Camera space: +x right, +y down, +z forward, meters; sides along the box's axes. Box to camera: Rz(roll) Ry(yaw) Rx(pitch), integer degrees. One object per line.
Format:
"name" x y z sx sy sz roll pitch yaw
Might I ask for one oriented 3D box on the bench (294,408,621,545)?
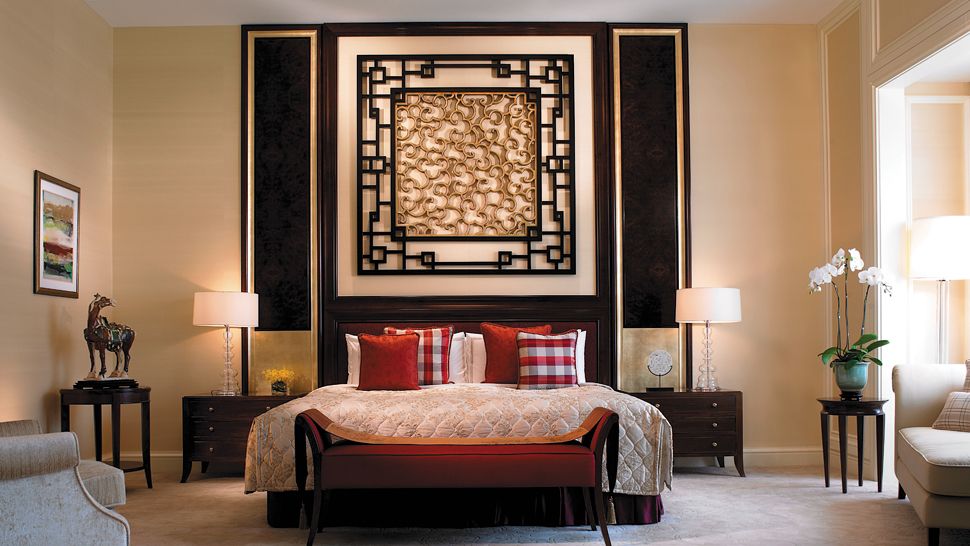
"bench" -0.242 1.773 6.633 2.843 1.249 0.408 -3 -5 0

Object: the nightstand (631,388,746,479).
"nightstand" 2.152 1.816 8.527 1.422 0.906 0.850 2 -12 -13

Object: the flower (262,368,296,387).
"flower" -2.313 1.171 8.573 0.228 0.125 0.220 1 -3 17

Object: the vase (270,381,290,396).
"vase" -2.296 1.284 8.480 0.173 0.119 0.165 1 0 8

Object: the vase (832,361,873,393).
"vase" 3.717 1.062 7.745 0.348 0.247 0.340 7 -7 -44

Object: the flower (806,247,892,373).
"flower" 3.930 0.343 8.087 0.749 1.279 1.031 -5 -6 26

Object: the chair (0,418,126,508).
"chair" -3.627 1.666 6.851 1.039 0.979 0.718 -1 -6 8

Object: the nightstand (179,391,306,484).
"nightstand" -2.456 1.662 7.699 1.095 0.825 0.438 0 -4 -1
